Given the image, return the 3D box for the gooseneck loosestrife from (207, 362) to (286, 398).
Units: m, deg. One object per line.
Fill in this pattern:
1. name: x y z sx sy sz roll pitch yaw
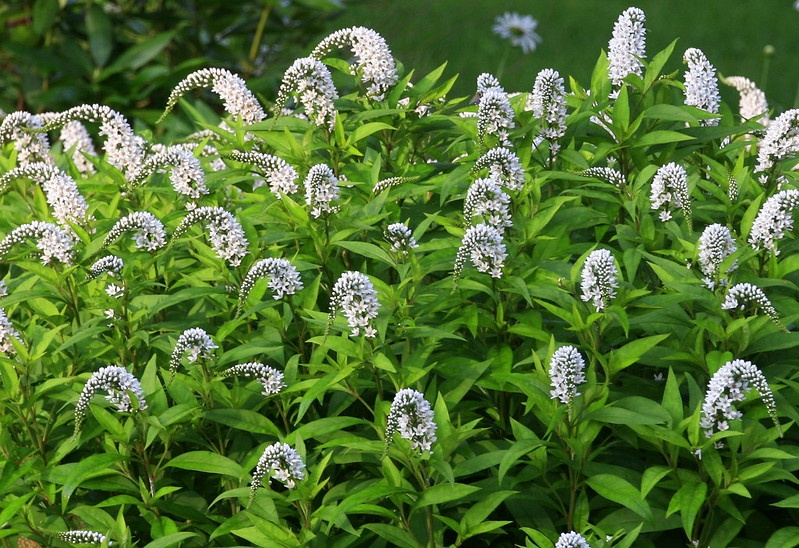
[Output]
1. gooseneck loosestrife: -0.727 0.491 4.653 0.308 0.141 0.159 12 13 5

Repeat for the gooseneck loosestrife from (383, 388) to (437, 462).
1. gooseneck loosestrife: 0.056 0.657 4.275 0.247 0.346 0.274 -1 43 4

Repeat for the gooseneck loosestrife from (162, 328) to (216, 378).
1. gooseneck loosestrife: -1.004 0.354 4.617 0.138 0.175 0.246 10 -10 -32

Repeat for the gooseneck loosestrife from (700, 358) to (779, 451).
1. gooseneck loosestrife: 1.452 0.578 4.410 0.426 0.240 0.251 -33 -17 27

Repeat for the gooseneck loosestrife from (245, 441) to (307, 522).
1. gooseneck loosestrife: -0.562 0.889 4.387 0.288 0.281 0.114 -20 31 -16

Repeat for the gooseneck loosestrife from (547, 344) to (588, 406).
1. gooseneck loosestrife: 0.750 0.457 4.400 0.162 0.335 0.218 -7 30 8
